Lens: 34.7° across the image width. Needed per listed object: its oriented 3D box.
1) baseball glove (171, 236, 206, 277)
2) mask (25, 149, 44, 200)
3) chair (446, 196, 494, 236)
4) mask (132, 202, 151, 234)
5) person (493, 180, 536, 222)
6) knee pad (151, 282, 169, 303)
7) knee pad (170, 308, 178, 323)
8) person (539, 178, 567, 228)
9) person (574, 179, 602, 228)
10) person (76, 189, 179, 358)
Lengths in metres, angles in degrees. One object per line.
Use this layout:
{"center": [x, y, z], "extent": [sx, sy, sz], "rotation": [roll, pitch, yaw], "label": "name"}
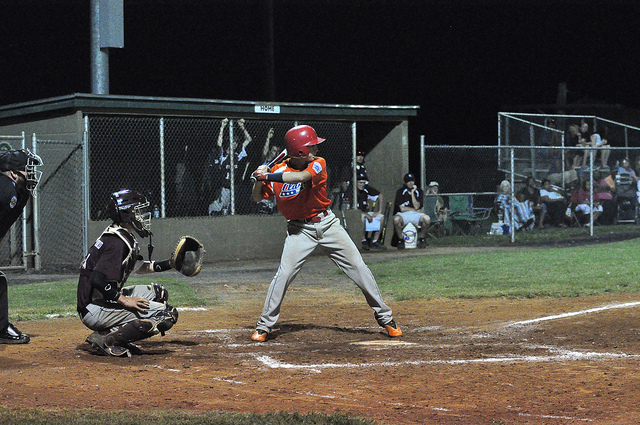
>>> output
{"center": [-2.301, 0.737, 17.696], "extent": [0.556, 0.664, 0.274], "rotation": [16, -1, -14], "label": "baseball glove"}
{"center": [-4.964, -0.716, 17.727], "extent": [0.258, 0.716, 0.627], "rotation": [-1, -3, -15], "label": "mask"}
{"center": [4.160, 0.025, 28.621], "extent": [1.105, 1.197, 1.134], "rotation": [-5, 5, -25], "label": "chair"}
{"center": [-2.947, 0.078, 17.096], "extent": [0.277, 0.405, 0.333], "rotation": [-4, 3, -7], "label": "mask"}
{"center": [5.432, -0.294, 28.820], "extent": [1.099, 1.243, 0.939], "rotation": [-4, 0, 9], "label": "person"}
{"center": [-2.711, 1.370, 17.491], "extent": [0.289, 0.308, 0.197], "rotation": [0, -3, -28], "label": "knee pad"}
{"center": [-2.447, 1.728, 17.368], "extent": [0.123, 0.180, 0.147], "rotation": [-3, -4, -16], "label": "knee pad"}
{"center": [6.726, -0.338, 29.419], "extent": [0.984, 1.620, 0.746], "rotation": [-1, 30, 20], "label": "person"}
{"center": [7.793, -0.282, 29.761], "extent": [0.548, 1.386, 0.794], "rotation": [-3, -3, 39], "label": "person"}
{"center": [-3.284, 1.015, 17.165], "extent": [1.519, 2.813, 0.634], "rotation": [-1, -3, -13], "label": "person"}
